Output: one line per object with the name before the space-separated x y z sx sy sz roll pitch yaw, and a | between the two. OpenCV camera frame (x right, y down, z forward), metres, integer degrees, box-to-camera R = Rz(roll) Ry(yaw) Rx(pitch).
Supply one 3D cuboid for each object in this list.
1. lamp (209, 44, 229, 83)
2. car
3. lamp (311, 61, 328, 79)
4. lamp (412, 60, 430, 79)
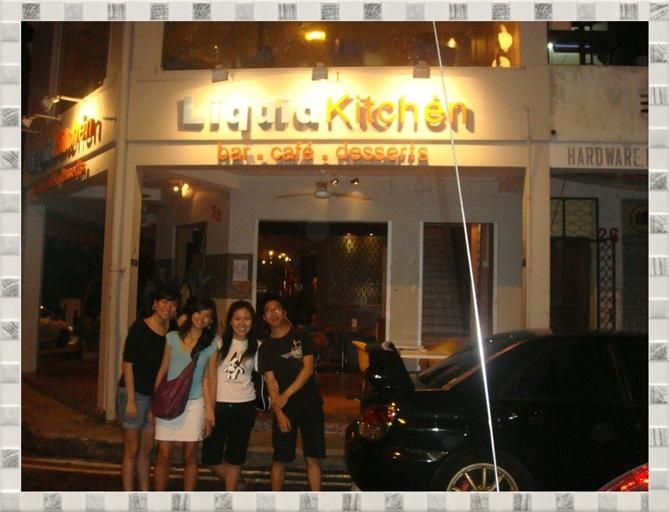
lamp | -1.588 -2.727 10.385 0.244 0.620 0.055 -12 41 -27
car | 1.634 1.412 7.207 2.998 1.040 1.328 -2 1 -2
lamp | -0.207 -2.592 10.488 0.264 0.303 0.215 0 -1 -5
lamp | 1.247 -2.614 10.430 0.247 0.174 0.260 8 30 5
